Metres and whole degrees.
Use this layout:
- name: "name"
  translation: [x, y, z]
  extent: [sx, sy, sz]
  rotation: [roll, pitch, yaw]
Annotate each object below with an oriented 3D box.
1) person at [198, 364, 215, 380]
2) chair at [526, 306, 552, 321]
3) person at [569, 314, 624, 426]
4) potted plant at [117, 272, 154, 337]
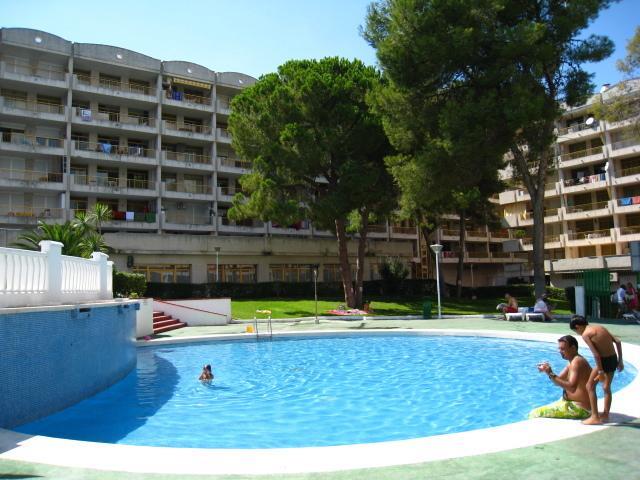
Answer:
- name: "person"
  translation: [-3.140, 3.644, 14.592]
  extent: [0.394, 0.453, 0.962]
  rotation: [1, -6, -12]
- name: "chair"
  translation: [10.579, 3.647, 25.573]
  extent: [1.156, 0.506, 0.545]
  rotation: [-3, -6, 18]
- name: "person"
  translation: [4.883, 2.236, 9.296]
  extent: [0.616, 1.765, 1.153]
  rotation: [-6, -8, 43]
- name: "potted plant"
  translation: [-7.528, 2.596, 21.412]
  extent: [2.032, 2.053, 1.098]
  rotation: [-5, -7, 37]
